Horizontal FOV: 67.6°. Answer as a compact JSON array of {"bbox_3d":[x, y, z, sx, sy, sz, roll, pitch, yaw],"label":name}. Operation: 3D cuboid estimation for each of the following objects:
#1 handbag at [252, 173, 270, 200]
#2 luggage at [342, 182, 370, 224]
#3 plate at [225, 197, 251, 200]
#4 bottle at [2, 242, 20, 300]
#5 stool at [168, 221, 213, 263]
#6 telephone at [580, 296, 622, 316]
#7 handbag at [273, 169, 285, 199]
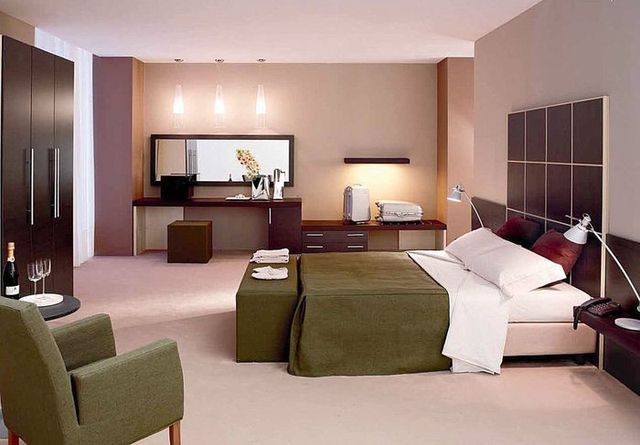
[{"bbox_3d":[-0.883,-0.576,7.697,0.334,0.421,0.332,1,4,6],"label":"handbag"},{"bbox_3d":[0.587,-0.302,7.603,0.390,0.566,0.352,-6,8,-35],"label":"luggage"},{"bbox_3d":[-1.304,-0.406,7.638,0.372,0.026,0.371,-2,12,-7],"label":"plate"},{"bbox_3d":[-2.198,0.341,3.370,0.094,0.420,0.472,-7,13,-33],"label":"bottle"},{"bbox_3d":[-1.907,0.262,7.152,0.590,0.575,0.586,0,0,-3],"label":"stool"},{"bbox_3d":[2.081,0.614,3.516,0.261,0.066,0.198,-5,13,-24],"label":"telephone"},{"bbox_3d":[-0.662,-0.636,7.720,0.194,0.461,0.352,-1,11,-3],"label":"handbag"}]
